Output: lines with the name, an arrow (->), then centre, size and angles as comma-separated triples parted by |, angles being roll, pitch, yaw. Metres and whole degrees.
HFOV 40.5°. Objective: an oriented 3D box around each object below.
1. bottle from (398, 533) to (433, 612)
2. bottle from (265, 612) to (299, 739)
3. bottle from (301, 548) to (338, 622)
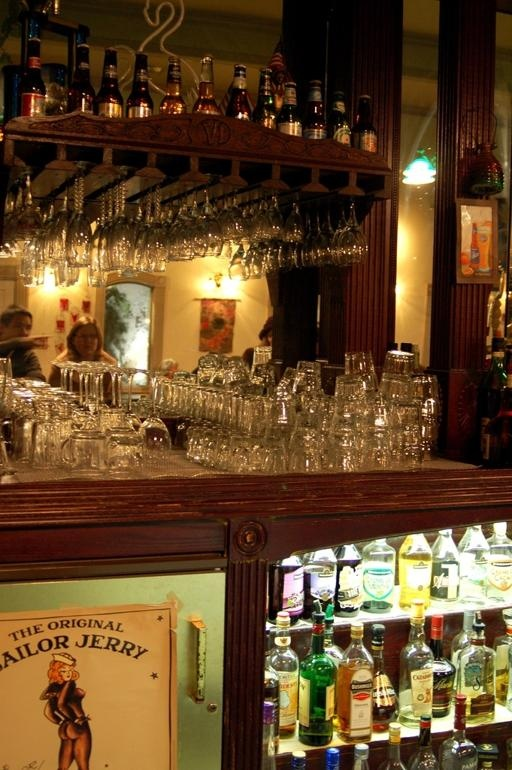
bottle -> 0.429, 0.483, 1.867 | 0.086, 0.273, 0.084 | 6, -34, 4
bottle -> 0.061, 0.689, 1.646 | 0.080, 0.268, 0.079 | 2, -7, 0
bottle -> 0.163, 0.464, 1.735 | 0.091, 0.226, 0.060 | -4, 6, -23
